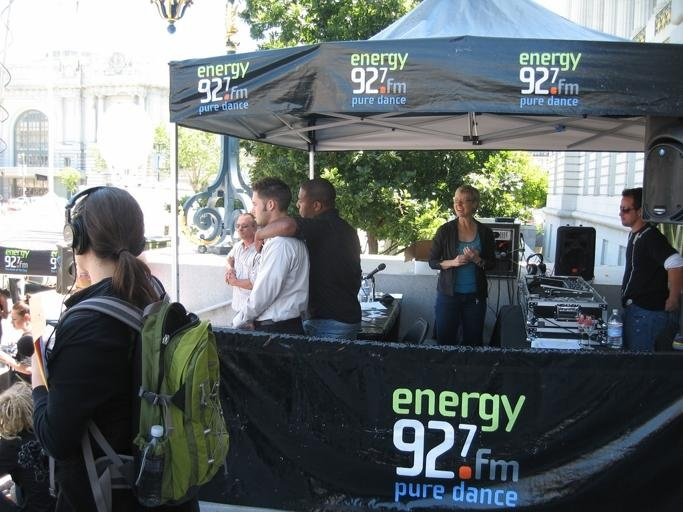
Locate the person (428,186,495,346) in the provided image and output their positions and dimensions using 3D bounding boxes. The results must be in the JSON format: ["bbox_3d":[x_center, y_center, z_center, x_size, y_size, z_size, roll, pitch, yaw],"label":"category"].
[{"bbox_3d":[1.213,0.138,7.093,0.646,1.678,0.638,1,9,16],"label":"person"}]

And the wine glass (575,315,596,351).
[{"bbox_3d":[2.101,0.652,5.973,0.127,0.263,0.272,-1,9,3],"label":"wine glass"}]

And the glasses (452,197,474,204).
[{"bbox_3d":[1.231,-0.555,7.023,0.189,0.085,0.080,4,10,29],"label":"glasses"}]

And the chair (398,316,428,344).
[{"bbox_3d":[0.740,0.796,7.012,0.224,0.278,0.775,-1,9,4],"label":"chair"}]

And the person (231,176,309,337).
[{"bbox_3d":[-0.555,0.019,5.457,0.621,1.234,0.433,-3,9,-11],"label":"person"}]

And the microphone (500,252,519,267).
[{"bbox_3d":[2.101,0.048,8.826,0.274,0.201,0.086,-2,9,-3],"label":"microphone"}]

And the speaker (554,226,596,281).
[{"bbox_3d":[2.639,-0.021,7.896,0.439,0.634,0.401,1,9,15],"label":"speaker"}]
